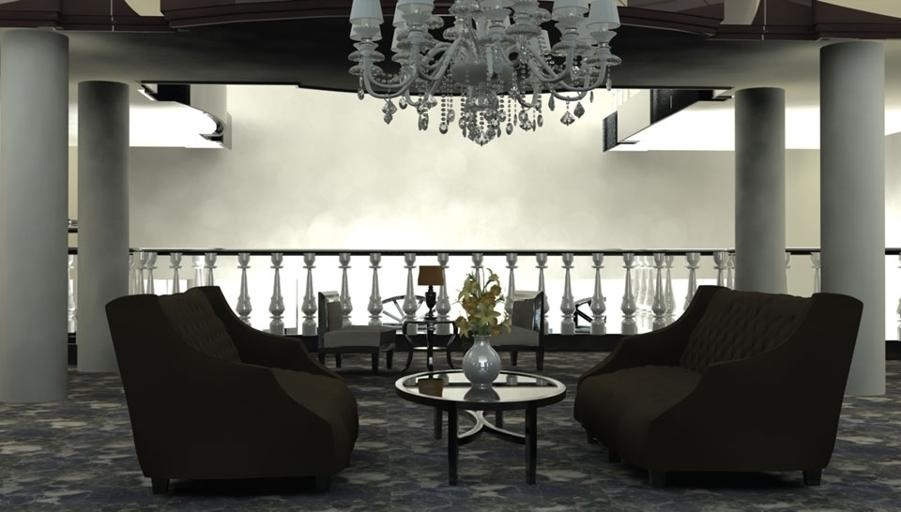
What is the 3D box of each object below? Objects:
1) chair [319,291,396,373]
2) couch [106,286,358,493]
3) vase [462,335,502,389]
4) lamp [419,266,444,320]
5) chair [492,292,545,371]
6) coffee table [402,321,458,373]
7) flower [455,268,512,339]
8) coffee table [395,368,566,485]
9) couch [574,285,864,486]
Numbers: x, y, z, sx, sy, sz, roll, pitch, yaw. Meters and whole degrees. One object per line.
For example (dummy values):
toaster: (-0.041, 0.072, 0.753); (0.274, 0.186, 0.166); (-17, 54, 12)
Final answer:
chair: (-1.181, 0.952, 12.588); (1.062, 1.108, 1.120); (0, 0, 1)
couch: (-2.173, 1.249, 9.941); (2.341, 1.794, 2.060); (0, 1, -5)
vase: (0.338, 1.071, 9.673); (0.497, 0.567, 0.489); (1, 3, 25)
lamp: (-0.245, 0.466, 12.273); (0.403, 0.627, 0.390); (2, -11, -2)
chair: (1.036, 1.028, 12.755); (0.973, 1.225, 0.895); (0, -4, 3)
coffee table: (-0.285, 1.217, 12.915); (0.789, 0.566, 0.783); (-1, -10, 5)
flower: (0.356, 0.580, 9.658); (0.606, 0.791, 0.496); (1, -6, -21)
coffee table: (0.271, 1.536, 9.658); (1.318, 0.603, 1.269); (-1, 6, -27)
couch: (2.779, 1.293, 9.766); (2.515, 1.897, 1.266); (0, 2, -3)
